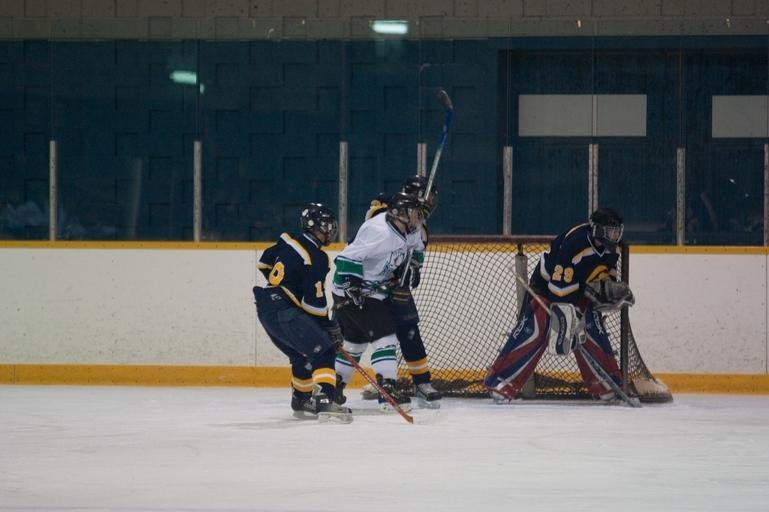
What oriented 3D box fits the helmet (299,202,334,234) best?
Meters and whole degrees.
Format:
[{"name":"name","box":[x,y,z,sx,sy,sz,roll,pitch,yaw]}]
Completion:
[{"name":"helmet","box":[-0.553,-0.297,12.860,0.259,0.272,0.201,-8,7,-19]}]

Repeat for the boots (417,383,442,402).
[{"name":"boots","box":[0.372,1.135,13.126,0.097,0.118,0.267,-1,-8,-27]}]

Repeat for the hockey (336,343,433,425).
[{"name":"hockey","box":[-0.069,1.032,12.904,0.718,0.594,0.524,1,0,11]}]

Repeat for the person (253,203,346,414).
[{"name":"person","box":[-0.622,0.437,12.904,0.830,1.717,0.744,1,-1,36]}]

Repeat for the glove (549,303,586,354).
[{"name":"glove","box":[1.516,0.601,13.174,0.261,0.427,0.123,7,9,29]}]

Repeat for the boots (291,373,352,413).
[{"name":"boots","box":[-0.460,1.134,12.858,0.214,0.319,0.657,-1,-2,37]}]
